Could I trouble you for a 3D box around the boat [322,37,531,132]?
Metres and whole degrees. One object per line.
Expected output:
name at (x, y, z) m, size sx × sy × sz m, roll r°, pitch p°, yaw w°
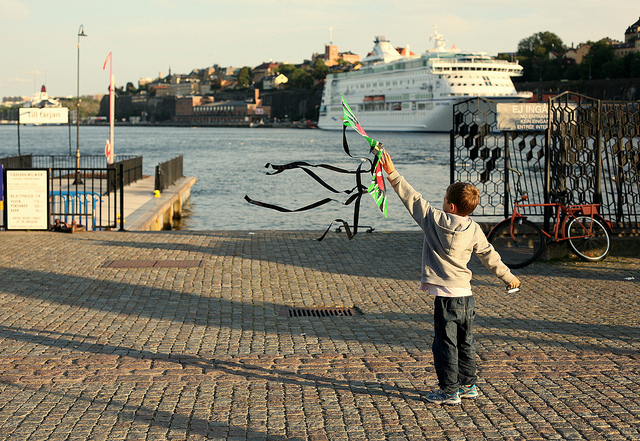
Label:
boat at (11.970, -15.089, 123.306) m, size 12.821 × 11.079 × 37.109 m, roll -2°, pitch 3°, yaw -24°
